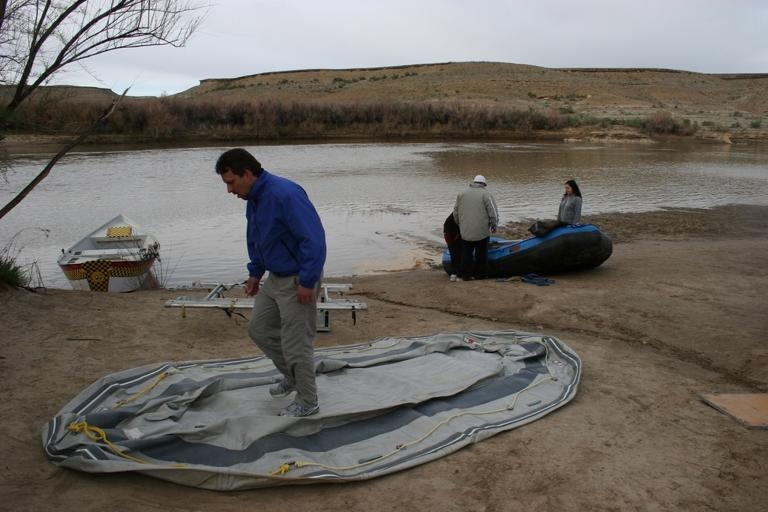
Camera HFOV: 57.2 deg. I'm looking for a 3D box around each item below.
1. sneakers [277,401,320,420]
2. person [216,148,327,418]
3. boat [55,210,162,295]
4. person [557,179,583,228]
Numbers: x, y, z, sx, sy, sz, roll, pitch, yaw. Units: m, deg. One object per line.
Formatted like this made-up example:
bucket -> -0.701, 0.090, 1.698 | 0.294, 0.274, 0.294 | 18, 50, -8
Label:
sneakers -> -1.055, 1.838, 8.299 | 0.543, 0.154, 0.161 | 2, -1, -6
person -> -1.271, 0.300, 8.355 | 0.748, 3.156, 1.127 | -16, 19, -41
boat -> -5.817, -0.005, 14.942 | 1.390, 0.548, 2.454 | 3, 16, -8
person -> 3.761, -1.123, 14.291 | 0.486, 0.846, 1.639 | 1, 10, 13
